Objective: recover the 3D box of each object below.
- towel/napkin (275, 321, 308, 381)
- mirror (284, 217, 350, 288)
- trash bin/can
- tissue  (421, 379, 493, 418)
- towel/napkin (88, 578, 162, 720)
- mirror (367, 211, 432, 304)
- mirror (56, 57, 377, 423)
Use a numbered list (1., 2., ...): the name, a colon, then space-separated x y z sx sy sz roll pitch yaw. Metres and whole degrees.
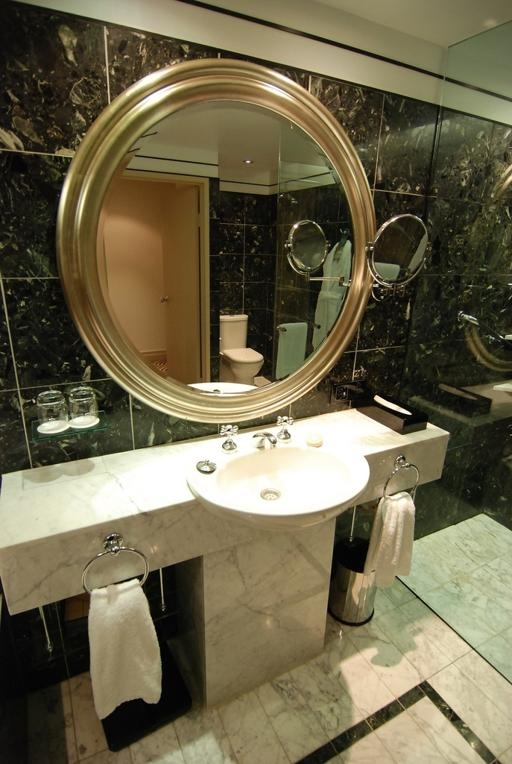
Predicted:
1. towel/napkin: 0.117 -0.115 1.817 0.155 0.219 0.029 -14 28 -34
2. mirror: 0.190 -0.434 1.771 0.166 0.228 0.057 -6 14 -32
3. trash bin/can: 0.391 0.827 2.159 0.173 0.291 0.239 3 20 -3
4. tissue : 0.812 0.074 2.153 0.039 0.120 0.301 -12 26 -37
5. towel/napkin: -0.332 0.673 1.343 0.244 0.350 0.101 -5 9 -31
6. mirror: 0.501 -0.458 1.877 0.321 0.360 0.047 -8 25 -27
7. mirror: -0.123 -0.394 1.521 0.933 1.003 0.052 -5 4 15
